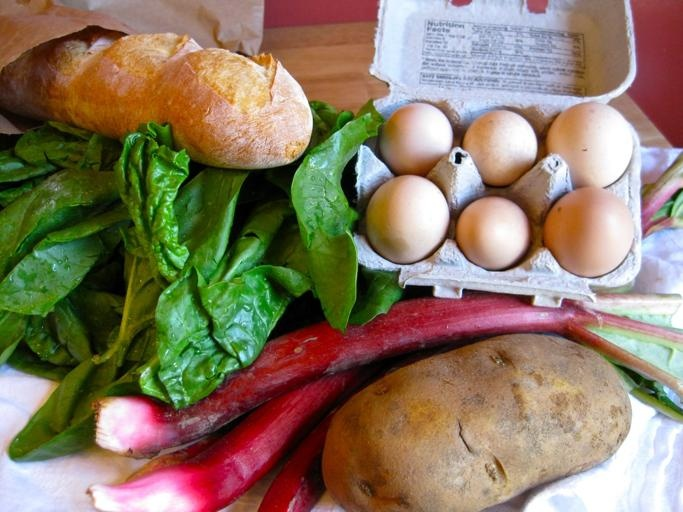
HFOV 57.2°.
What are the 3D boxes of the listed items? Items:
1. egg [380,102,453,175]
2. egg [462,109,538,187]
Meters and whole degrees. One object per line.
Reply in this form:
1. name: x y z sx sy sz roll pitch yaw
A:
1. egg: 0.129 -0.198 1.103 0.109 0.135 0.122 1 68 4
2. egg: 0.254 -0.186 1.073 0.108 0.135 0.114 -4 48 3
